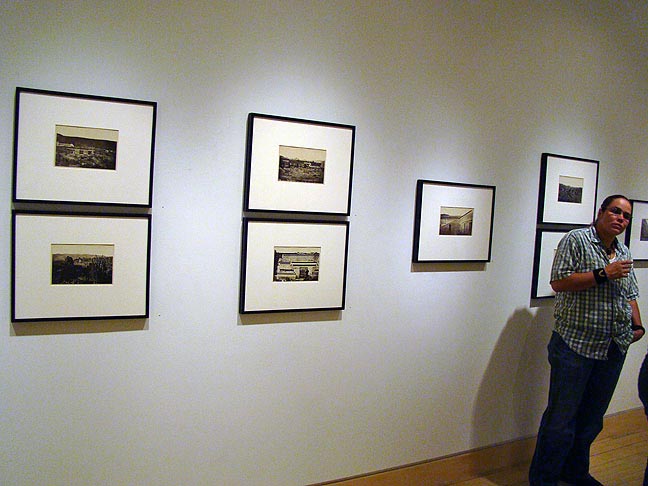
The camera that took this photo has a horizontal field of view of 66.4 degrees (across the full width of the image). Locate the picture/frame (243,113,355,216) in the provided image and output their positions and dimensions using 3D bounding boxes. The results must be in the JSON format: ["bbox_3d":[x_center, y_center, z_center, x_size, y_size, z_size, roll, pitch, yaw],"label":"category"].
[{"bbox_3d":[-0.180,-0.482,3.001,0.543,0.494,0.043,5,3,-22],"label":"picture/frame"}]

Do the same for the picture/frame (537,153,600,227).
[{"bbox_3d":[1.900,-0.406,3.841,0.472,0.503,0.053,2,6,-7],"label":"picture/frame"}]

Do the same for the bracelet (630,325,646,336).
[{"bbox_3d":[2.174,0.595,3.432,0.078,0.089,0.078,7,1,5],"label":"bracelet"}]

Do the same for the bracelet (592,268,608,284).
[{"bbox_3d":[1.772,0.212,3.162,0.036,0.080,0.099,1,-22,-44],"label":"bracelet"}]

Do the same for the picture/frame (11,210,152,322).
[{"bbox_3d":[-1.355,0.114,2.694,0.558,0.508,0.022,0,4,-19],"label":"picture/frame"}]

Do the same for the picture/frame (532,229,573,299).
[{"bbox_3d":[1.635,0.148,3.549,0.472,0.625,0.041,0,3,-17],"label":"picture/frame"}]

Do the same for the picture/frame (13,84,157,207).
[{"bbox_3d":[-1.322,-0.531,2.659,0.612,0.580,0.023,0,5,-19],"label":"picture/frame"}]

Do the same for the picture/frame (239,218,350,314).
[{"bbox_3d":[-0.212,0.129,3.040,0.530,0.502,0.038,-1,7,-22],"label":"picture/frame"}]

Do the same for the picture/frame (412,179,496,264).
[{"bbox_3d":[0.882,-0.161,3.437,0.527,0.495,0.041,2,4,-25],"label":"picture/frame"}]
